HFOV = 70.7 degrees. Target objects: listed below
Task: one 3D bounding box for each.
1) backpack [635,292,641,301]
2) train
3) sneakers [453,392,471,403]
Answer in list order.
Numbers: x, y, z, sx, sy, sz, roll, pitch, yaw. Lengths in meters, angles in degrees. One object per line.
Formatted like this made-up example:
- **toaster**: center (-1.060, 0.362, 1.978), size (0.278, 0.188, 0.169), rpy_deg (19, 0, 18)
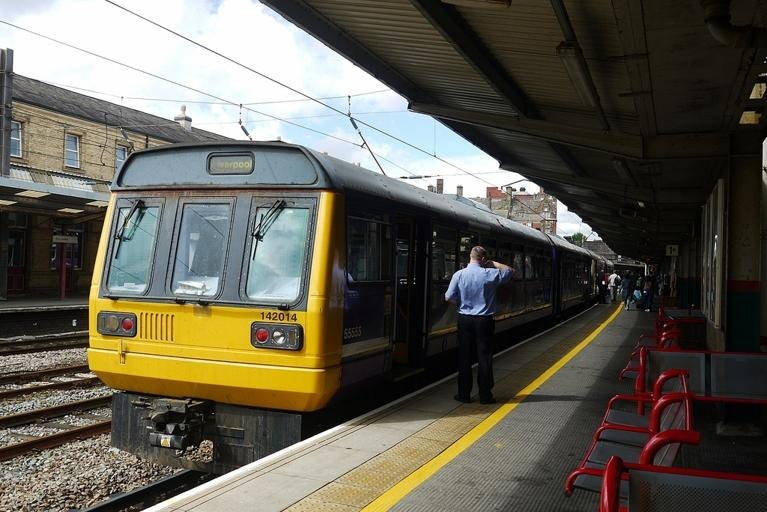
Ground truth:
- **backpack**: center (14.226, 2.217, 30.476), size (0.508, 0.499, 0.387), rpy_deg (4, -4, 25)
- **train**: center (-0.550, 0.665, 8.865), size (2.770, 4.189, 6.584), rpy_deg (1, 1, 33)
- **sneakers**: center (1.123, 2.037, 7.797), size (0.100, 0.110, 0.262), rpy_deg (-3, 8, -29)
